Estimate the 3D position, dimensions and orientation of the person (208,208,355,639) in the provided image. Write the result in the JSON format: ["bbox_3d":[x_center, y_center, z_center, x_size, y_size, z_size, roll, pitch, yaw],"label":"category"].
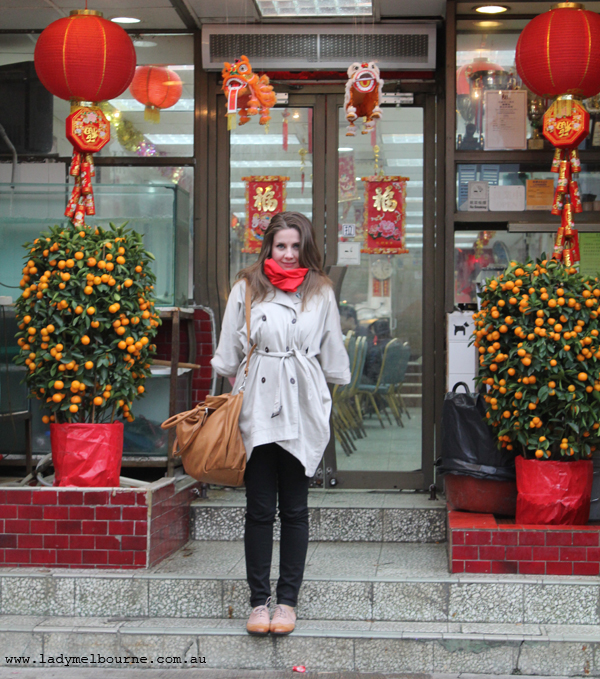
[{"bbox_3d":[-0.062,0.344,4.310,0.496,1.803,0.424,-2,4,-37],"label":"person"}]

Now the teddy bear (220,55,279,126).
[{"bbox_3d":[-0.273,-1.315,5.253,0.351,0.419,0.296,1,9,13],"label":"teddy bear"}]

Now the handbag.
[{"bbox_3d":[-0.388,0.399,4.252,0.334,0.378,0.379,4,10,20],"label":"handbag"}]

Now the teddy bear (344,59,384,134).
[{"bbox_3d":[0.369,-1.343,5.476,0.237,0.396,0.196,1,7,12],"label":"teddy bear"}]
